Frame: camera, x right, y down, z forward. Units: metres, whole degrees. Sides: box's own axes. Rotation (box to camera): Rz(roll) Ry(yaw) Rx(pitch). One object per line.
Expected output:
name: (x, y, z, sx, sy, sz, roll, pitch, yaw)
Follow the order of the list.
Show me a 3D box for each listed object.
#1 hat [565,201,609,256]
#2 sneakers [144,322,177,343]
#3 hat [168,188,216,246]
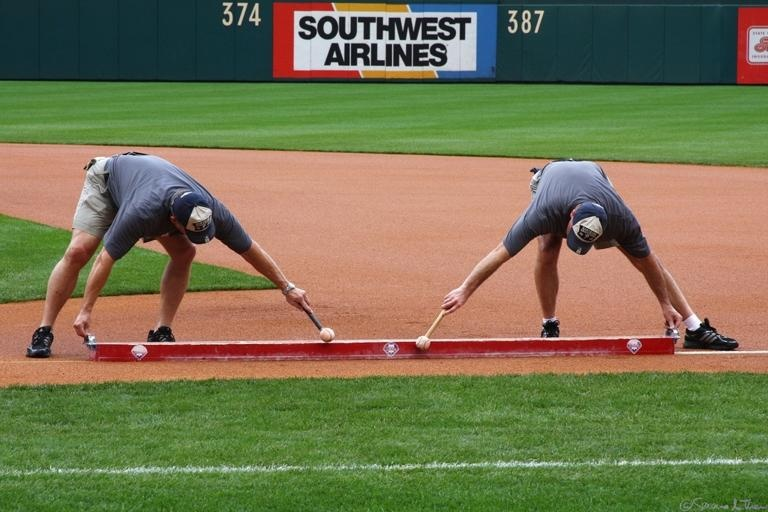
hat: (2.465, -0.345, 16.591, 0.485, 0.617, 0.360, 16, 9, -15)
sneakers: (-2.884, 1.007, 17.228, 0.166, 0.176, 0.446, 3, -4, -44)
hat: (-2.278, -0.485, 16.388, 0.484, 0.641, 0.391, -29, 5, -19)
